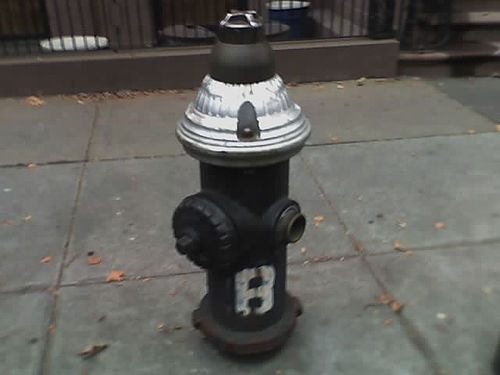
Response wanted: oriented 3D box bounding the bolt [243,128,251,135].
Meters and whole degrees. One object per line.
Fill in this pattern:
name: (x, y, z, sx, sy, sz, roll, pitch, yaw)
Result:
bolt: (-0.016, -0.376, 3.418, 0.040, 0.040, 0.041, 19, 58, 13)
